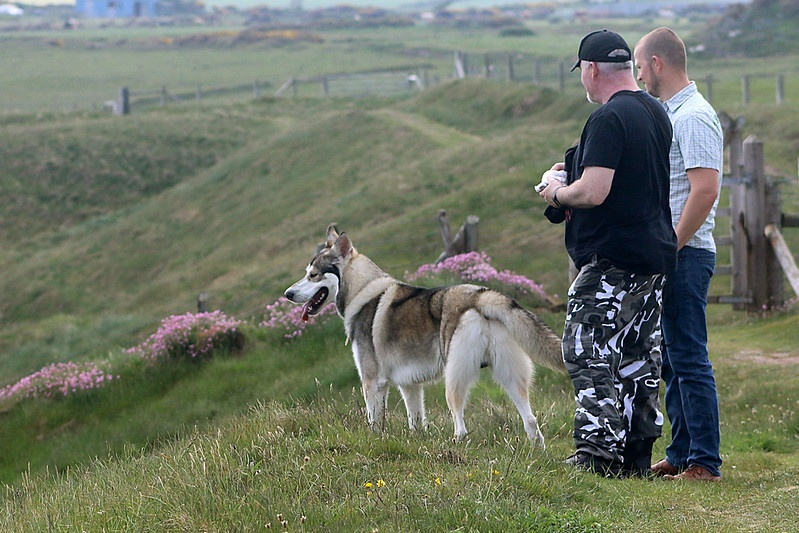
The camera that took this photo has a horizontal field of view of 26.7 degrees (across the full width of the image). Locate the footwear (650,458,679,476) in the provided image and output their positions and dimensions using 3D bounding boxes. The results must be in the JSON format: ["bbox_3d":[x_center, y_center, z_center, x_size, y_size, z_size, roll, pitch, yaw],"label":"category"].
[{"bbox_3d":[6.841,5.185,43.656,0.816,0.370,0.294,8,-4,9],"label":"footwear"}]

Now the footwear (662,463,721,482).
[{"bbox_3d":[7.585,5.340,43.672,1.472,0.601,0.541,4,-10,7],"label":"footwear"}]
